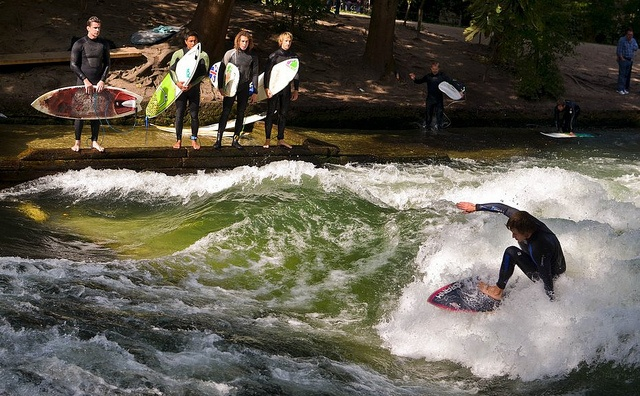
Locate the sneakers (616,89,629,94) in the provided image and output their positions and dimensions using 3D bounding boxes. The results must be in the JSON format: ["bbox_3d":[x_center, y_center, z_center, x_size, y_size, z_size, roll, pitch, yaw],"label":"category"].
[{"bbox_3d":[12.170,-4.306,26.452,0.379,0.156,0.150,10,46,38],"label":"sneakers"}]

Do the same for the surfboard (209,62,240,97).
[{"bbox_3d":[-2.026,-2.657,14.780,0.741,0.786,0.197,2,21,0],"label":"surfboard"}]

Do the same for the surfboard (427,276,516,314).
[{"bbox_3d":[2.556,1.715,11.377,1.636,0.552,0.148,2,-12,-22],"label":"surfboard"}]

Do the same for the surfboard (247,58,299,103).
[{"bbox_3d":[-1.037,-2.749,15.245,1.599,0.500,0.226,-31,12,5],"label":"surfboard"}]

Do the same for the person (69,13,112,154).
[{"bbox_3d":[-4.863,-2.404,13.965,0.753,2.847,0.669,0,15,-18],"label":"person"}]

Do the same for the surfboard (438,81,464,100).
[{"bbox_3d":[3.995,-3.297,20.159,0.732,0.476,0.213,33,-11,-12],"label":"surfboard"}]

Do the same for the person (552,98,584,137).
[{"bbox_3d":[7.734,-2.462,20.618,0.701,1.613,1.092,2,41,34],"label":"person"}]

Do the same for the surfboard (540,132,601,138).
[{"bbox_3d":[7.933,-2.029,20.914,1.190,0.129,0.304,1,12,-10],"label":"surfboard"}]

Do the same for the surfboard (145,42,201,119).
[{"bbox_3d":[-3.257,-2.536,14.635,0.300,2.476,0.796,-8,55,-44],"label":"surfboard"}]
